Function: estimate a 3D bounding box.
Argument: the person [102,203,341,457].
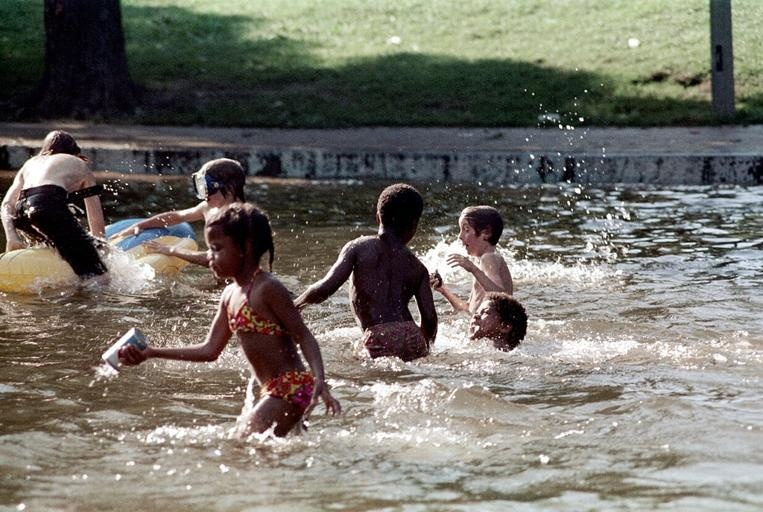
[{"bbox_3d":[-0.774,0.447,8.138,0.470,1.576,0.806,-12,15,-42],"label":"person"}]
